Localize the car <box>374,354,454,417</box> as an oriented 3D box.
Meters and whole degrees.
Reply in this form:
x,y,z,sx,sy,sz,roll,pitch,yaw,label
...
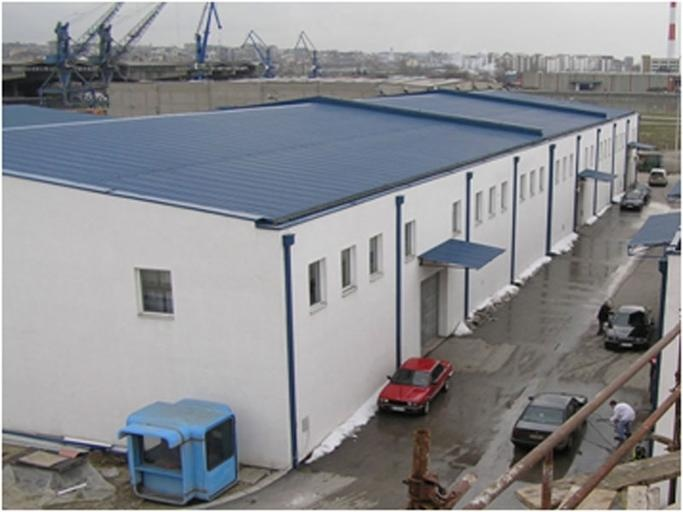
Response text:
x,y,z,sx,sy,sz,roll,pitch,yaw,label
2.809,4.468,29.973,1.391,0.844,2.632,9,19,25,car

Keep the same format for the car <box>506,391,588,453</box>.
x,y,z,sx,sy,sz,roll,pitch,yaw,label
6.793,5.487,27.725,1.501,1.226,2.634,11,19,42,car

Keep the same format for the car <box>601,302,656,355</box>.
x,y,z,sx,sy,sz,roll,pitch,yaw,label
11.630,3.025,34.093,1.483,1.020,3.117,0,10,22,car

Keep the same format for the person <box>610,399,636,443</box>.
x,y,z,sx,sy,sz,roll,pitch,yaw,label
9.442,5.388,28.165,0.780,1.138,2.185,3,15,17,person

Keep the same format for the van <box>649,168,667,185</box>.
x,y,z,sx,sy,sz,roll,pitch,yaw,label
26.990,-6.654,71.419,1.143,1.079,2.287,1,19,26,van

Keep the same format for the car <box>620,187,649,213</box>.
x,y,z,sx,sy,sz,roll,pitch,yaw,label
21.594,-4.072,61.497,1.211,0.965,3.434,3,16,26,car
